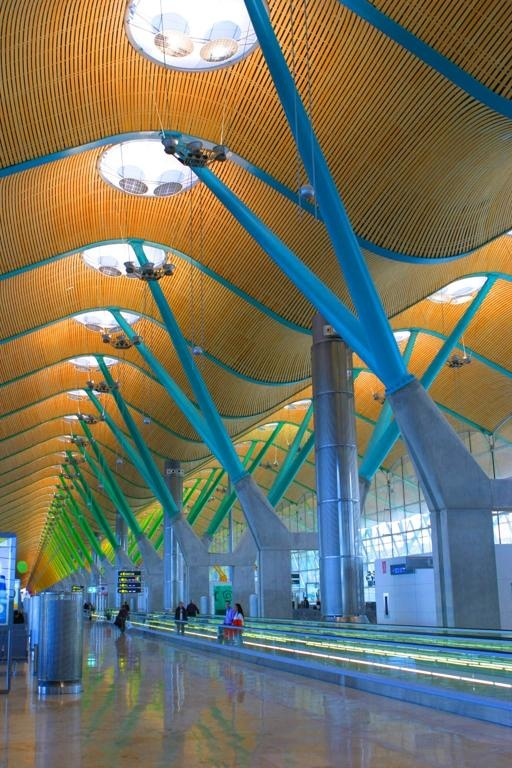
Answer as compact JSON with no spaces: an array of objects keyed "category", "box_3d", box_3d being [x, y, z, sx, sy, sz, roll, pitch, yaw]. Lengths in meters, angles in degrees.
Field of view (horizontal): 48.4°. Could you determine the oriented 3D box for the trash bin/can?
[{"category":"trash bin/can","box_3d":[-2.630,3.435,7.599,0.568,1.178,0.448,0,-15,-13]}]
